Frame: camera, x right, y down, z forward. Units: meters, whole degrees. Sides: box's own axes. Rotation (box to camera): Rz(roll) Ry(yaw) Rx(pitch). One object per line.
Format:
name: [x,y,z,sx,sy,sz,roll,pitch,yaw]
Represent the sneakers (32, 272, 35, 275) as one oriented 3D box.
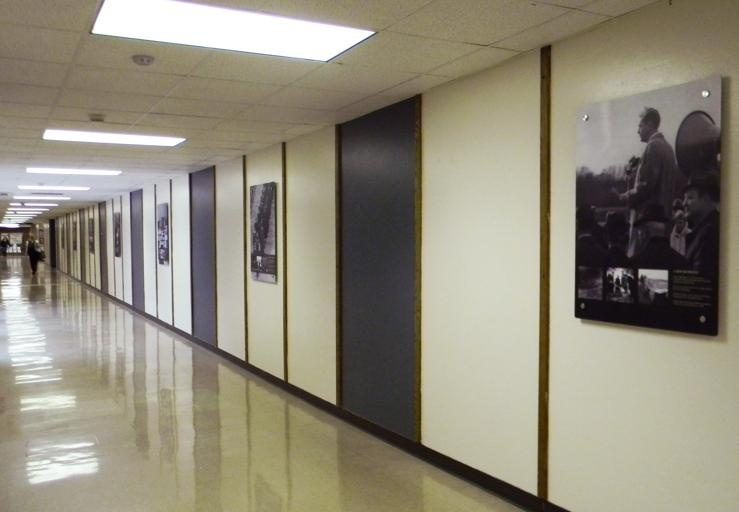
sneakers: [-16.558,0.858,26.882,0.131,0.158,0.233,-1,2,-35]
